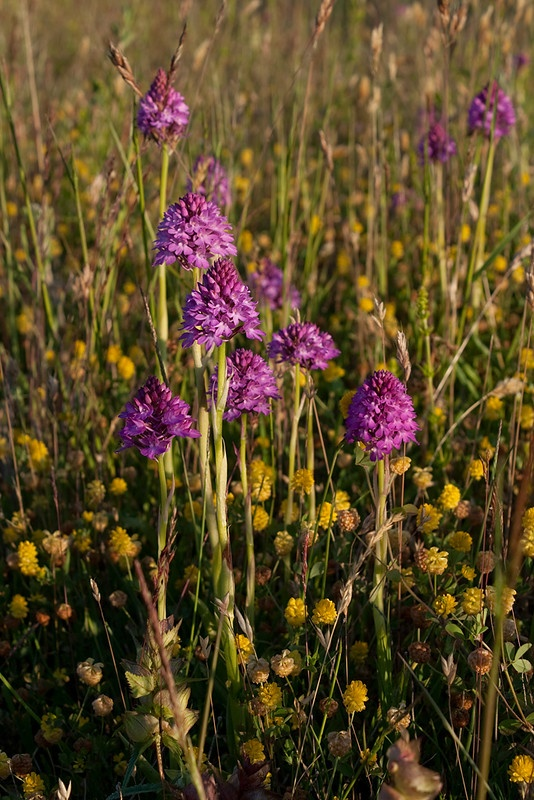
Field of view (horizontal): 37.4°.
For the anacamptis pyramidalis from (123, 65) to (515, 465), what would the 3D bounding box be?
[{"bbox_3d":[0.147,-0.684,2.603,1.014,1.285,0.313,2,0,5],"label":"anacamptis pyramidalis"}]
